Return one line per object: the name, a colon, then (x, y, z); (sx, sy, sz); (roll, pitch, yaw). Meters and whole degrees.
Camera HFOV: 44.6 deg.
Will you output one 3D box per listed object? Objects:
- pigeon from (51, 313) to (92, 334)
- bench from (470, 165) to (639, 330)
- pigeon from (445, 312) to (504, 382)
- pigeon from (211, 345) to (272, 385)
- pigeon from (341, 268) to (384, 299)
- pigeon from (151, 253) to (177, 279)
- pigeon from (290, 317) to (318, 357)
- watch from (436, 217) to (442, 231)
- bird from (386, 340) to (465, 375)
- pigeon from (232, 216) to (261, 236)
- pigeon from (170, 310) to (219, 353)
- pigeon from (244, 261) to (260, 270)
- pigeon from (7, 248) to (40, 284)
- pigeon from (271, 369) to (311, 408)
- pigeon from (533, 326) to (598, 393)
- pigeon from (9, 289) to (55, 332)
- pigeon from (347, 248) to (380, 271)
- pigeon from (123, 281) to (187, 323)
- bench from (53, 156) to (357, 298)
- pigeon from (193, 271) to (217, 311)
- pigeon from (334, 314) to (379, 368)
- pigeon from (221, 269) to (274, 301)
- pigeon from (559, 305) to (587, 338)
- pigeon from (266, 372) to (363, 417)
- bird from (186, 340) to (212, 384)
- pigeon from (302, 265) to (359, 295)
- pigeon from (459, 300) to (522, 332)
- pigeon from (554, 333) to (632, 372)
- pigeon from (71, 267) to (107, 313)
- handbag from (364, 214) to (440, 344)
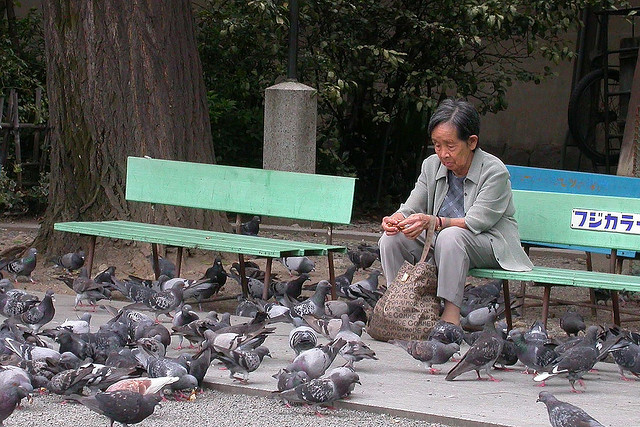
pigeon: (-2.229, 1.011, 7.027); (0.341, 0.223, 0.171); (11, 0, -15)
bench: (2.459, 0.362, 8.150); (1.897, 1.251, 0.851); (1, 4, 39)
pigeon: (1.313, 1.144, 6.639); (0.563, 0.555, 0.301); (-3, -2, -14)
pigeon: (-0.668, 1.249, 6.590); (0.354, 0.334, 0.420); (3, 5, 15)
pigeon: (0.457, 0.810, 8.446); (0.500, 0.346, 0.183); (-9, 7, -27)
pigeon: (-1.771, 0.618, 8.872); (0.243, 0.182, 0.527); (1, 5, -12)
pigeon: (-0.145, 1.103, 6.975); (0.155, 0.257, 0.427); (1, -5, -2)
watch: (1.146, 0.119, 7.429); (0.049, 0.092, 0.077); (0, 3, 26)
bird: (0.927, 1.224, 6.851); (0.687, 0.301, 0.221); (11, 15, 35)
pigeon: (-1.000, 0.187, 10.456); (0.372, 0.228, 0.188); (-3, -9, 8)
pigeon: (-1.063, 1.051, 7.106); (0.498, 0.365, 0.238); (4, -5, 8)
pigeon: (-0.820, 0.622, 9.266); (0.118, 0.052, 0.163); (4, 2, 6)
pigeon: (-3.567, 0.627, 9.419); (0.351, 0.434, 0.385); (2, 5, 1)
pigeon: (-0.227, 1.372, 6.149); (0.182, 0.233, 0.359); (-1, 13, -38)
pigeon: (2.078, 1.227, 6.518); (0.678, 0.518, 0.245); (-6, 8, -16)
pigeon: (-2.806, 0.997, 7.612); (0.616, 0.485, 0.189); (0, 0, 20)
pigeon: (0.561, 0.576, 10.083); (0.429, 0.261, 0.185); (24, 16, 31)
pigeon: (-1.689, 0.892, 7.849); (0.675, 0.403, 0.245); (2, 5, -13)
bench: (-1.346, 0.280, 8.891); (3.532, 1.497, 1.410); (5, 10, 34)
pigeon: (-1.246, 0.862, 8.548); (0.222, 0.449, 0.461); (1, 5, -7)
pigeon: (0.292, 1.121, 6.701); (0.209, 0.453, 0.542); (0, 0, -31)
pigeon: (-0.802, 0.822, 8.604); (0.574, 0.342, 0.757); (2, 5, 3)
pigeon: (2.589, 1.122, 7.973); (0.132, 0.212, 0.324); (-6, 42, 1)
pigeon: (-0.066, 1.395, 6.194); (0.803, 0.412, 0.261); (7, 17, 15)
bird: (-1.041, 1.236, 6.395); (0.128, 0.400, 0.221); (12, 27, -18)
pigeon: (0.131, 0.766, 8.789); (0.651, 0.214, 0.460); (-11, -30, -3)
pigeon: (1.685, 1.026, 7.801); (0.471, 0.194, 0.361); (-9, 5, 6)
pigeon: (2.374, 1.165, 6.622); (0.701, 0.421, 0.249); (8, -5, -5)
pigeon: (-2.514, 0.850, 8.404); (0.312, 0.385, 0.528); (-1, 6, -27)
handbag: (0.812, 0.658, 7.359); (0.663, 1.265, 0.378); (2, 6, 4)
